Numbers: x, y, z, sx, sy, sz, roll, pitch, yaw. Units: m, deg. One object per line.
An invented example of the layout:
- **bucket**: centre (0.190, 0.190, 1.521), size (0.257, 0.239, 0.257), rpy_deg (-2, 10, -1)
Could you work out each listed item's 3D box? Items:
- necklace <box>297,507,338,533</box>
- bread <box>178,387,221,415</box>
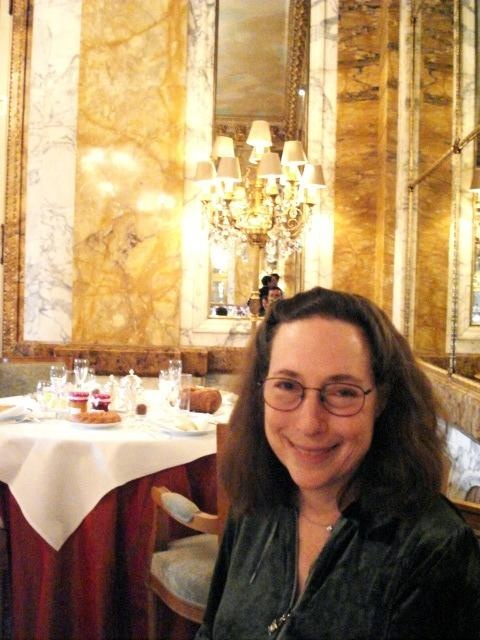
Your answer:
- **necklace**: centre (0.142, 0.382, 1.198), size (0.053, 0.019, 0.040), rpy_deg (19, -40, 1)
- **bread**: centre (-0.186, 0.330, 2.863), size (0.166, 0.116, 0.135), rpy_deg (3, 5, 41)
